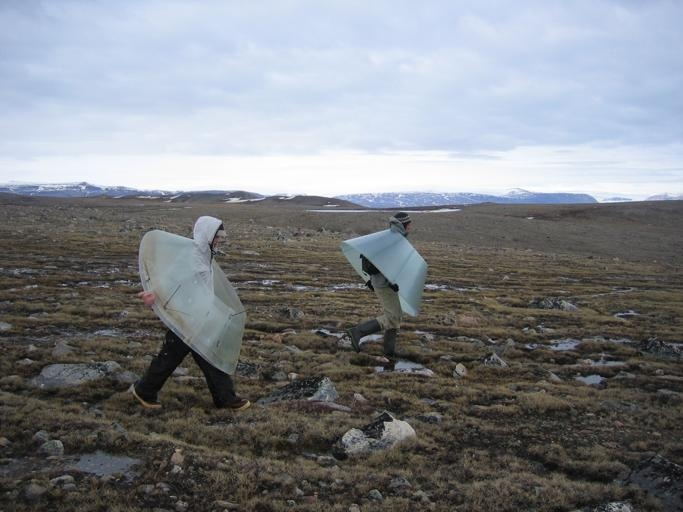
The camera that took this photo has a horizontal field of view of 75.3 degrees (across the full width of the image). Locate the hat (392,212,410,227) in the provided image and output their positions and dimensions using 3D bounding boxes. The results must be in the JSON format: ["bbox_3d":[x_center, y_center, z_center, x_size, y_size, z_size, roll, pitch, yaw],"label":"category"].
[{"bbox_3d":[2.059,-1.296,14.737,0.549,0.443,0.394,-28,26,-6],"label":"hat"}]

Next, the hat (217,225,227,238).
[{"bbox_3d":[-2.946,-0.597,10.876,0.324,0.289,0.249,1,4,10],"label":"hat"}]

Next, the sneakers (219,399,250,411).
[{"bbox_3d":[-2.640,3.642,10.901,0.654,0.226,0.255,-1,-5,-9],"label":"sneakers"}]
